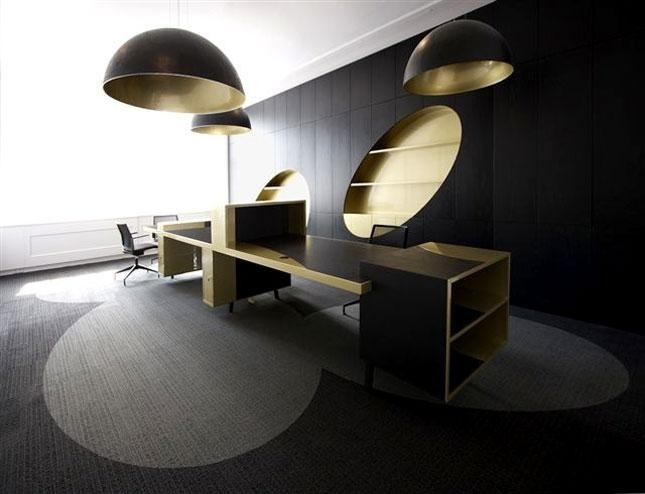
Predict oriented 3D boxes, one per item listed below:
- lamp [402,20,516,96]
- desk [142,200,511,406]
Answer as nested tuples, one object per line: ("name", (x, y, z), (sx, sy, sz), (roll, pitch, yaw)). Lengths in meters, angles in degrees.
("lamp", (1.131, -1.565, 3.849), (0.773, 0.524, 0.809), (-6, 9, -11))
("desk", (0.172, 0.340, 4.401), (2.857, 1.365, 1.175), (8, 14, 38))
